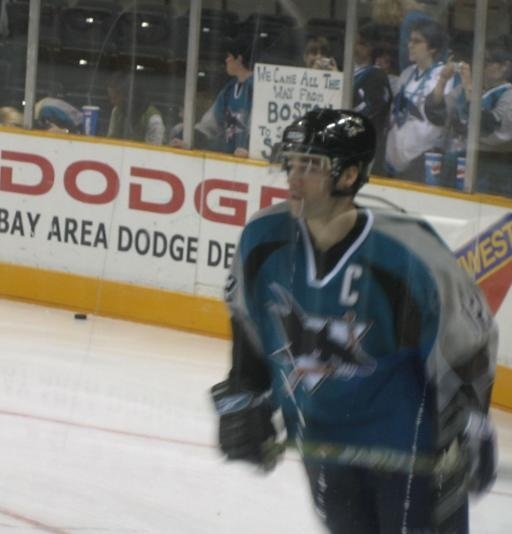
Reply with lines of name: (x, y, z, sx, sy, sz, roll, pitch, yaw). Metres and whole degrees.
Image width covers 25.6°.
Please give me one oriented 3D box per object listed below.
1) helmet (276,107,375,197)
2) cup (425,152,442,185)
helmet: (0.156, -0.240, 2.428, 0.222, 0.233, 0.190, 0, 14, -20)
cup: (0.392, -0.216, 2.474, 0.042, 0.074, 0.045, 2, 12, 0)
